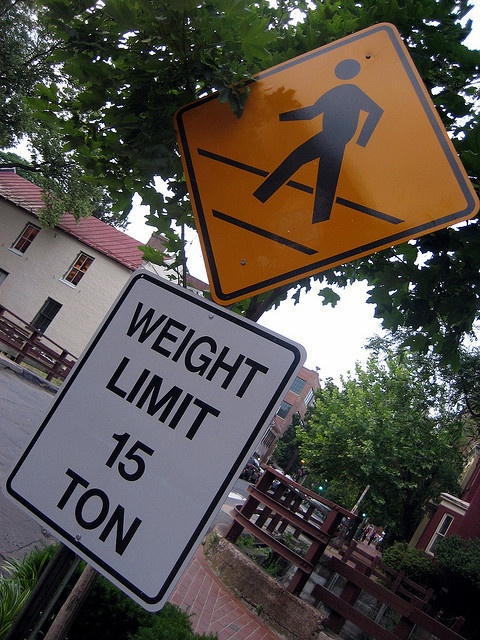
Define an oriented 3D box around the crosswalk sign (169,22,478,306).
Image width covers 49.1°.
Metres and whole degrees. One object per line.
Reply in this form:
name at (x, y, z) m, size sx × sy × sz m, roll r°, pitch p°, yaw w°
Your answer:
crosswalk sign at (0.284, -0.534, 1.820) m, size 0.047 × 1.101 × 0.980 m, roll 31°, pitch 38°, yaw -69°
